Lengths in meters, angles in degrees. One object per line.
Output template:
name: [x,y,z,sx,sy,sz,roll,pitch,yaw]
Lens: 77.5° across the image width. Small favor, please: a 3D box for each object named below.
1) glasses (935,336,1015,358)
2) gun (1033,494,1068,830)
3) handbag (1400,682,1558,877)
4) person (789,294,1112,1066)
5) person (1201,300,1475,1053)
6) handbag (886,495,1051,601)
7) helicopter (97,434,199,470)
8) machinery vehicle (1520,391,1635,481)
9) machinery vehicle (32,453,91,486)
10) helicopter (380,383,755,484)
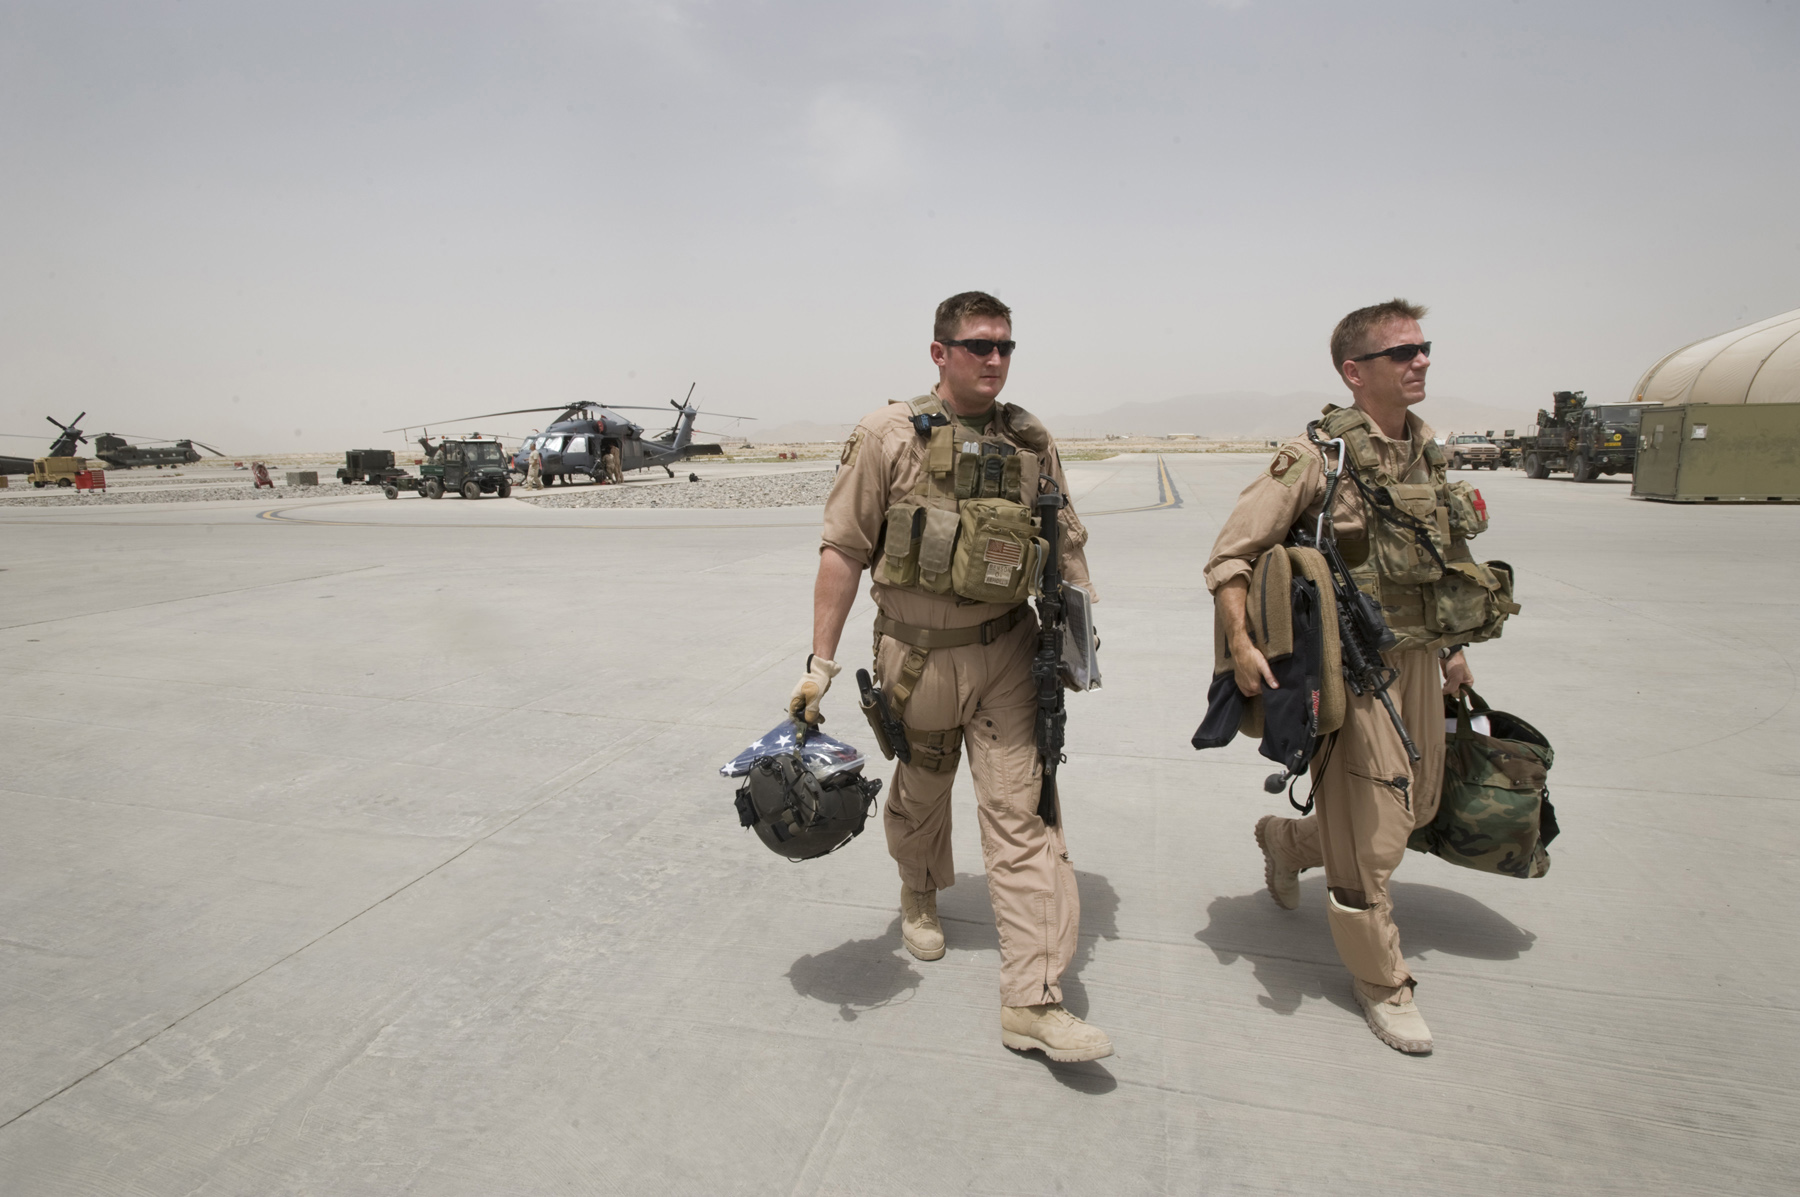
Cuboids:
glasses: [0.316,-0.940,4.221,0.326,0.071,0.124,10,17,34]
gun: [0.573,0.242,4.239,0.134,1.114,0.428,-4,-11,9]
handbag: [2.242,0.679,4.500,0.530,0.770,0.594,-1,-2,0]
person: [0.245,0.250,4.372,1.069,2.527,1.458,0,2,8]
person: [1.791,0.254,4.310,1.142,2.595,1.287,3,11,30]
handbag: [0.231,-0.176,4.135,0.608,0.357,0.215,1,15,2]
helicopter: [-39.720,-7.631,59.057,2.754,1.998,6.826,-4,14,-18]
machinery vehicle: [19.155,-4.659,31.967,1.831,2.326,4.845,-7,7,-1]
machinery vehicle: [-30.904,-4.637,41.295,1.249,0.964,1.753,-4,14,-18]
helicopter: [-11.178,-6.107,41.473,12.110,3.708,11.300,5,7,32]
